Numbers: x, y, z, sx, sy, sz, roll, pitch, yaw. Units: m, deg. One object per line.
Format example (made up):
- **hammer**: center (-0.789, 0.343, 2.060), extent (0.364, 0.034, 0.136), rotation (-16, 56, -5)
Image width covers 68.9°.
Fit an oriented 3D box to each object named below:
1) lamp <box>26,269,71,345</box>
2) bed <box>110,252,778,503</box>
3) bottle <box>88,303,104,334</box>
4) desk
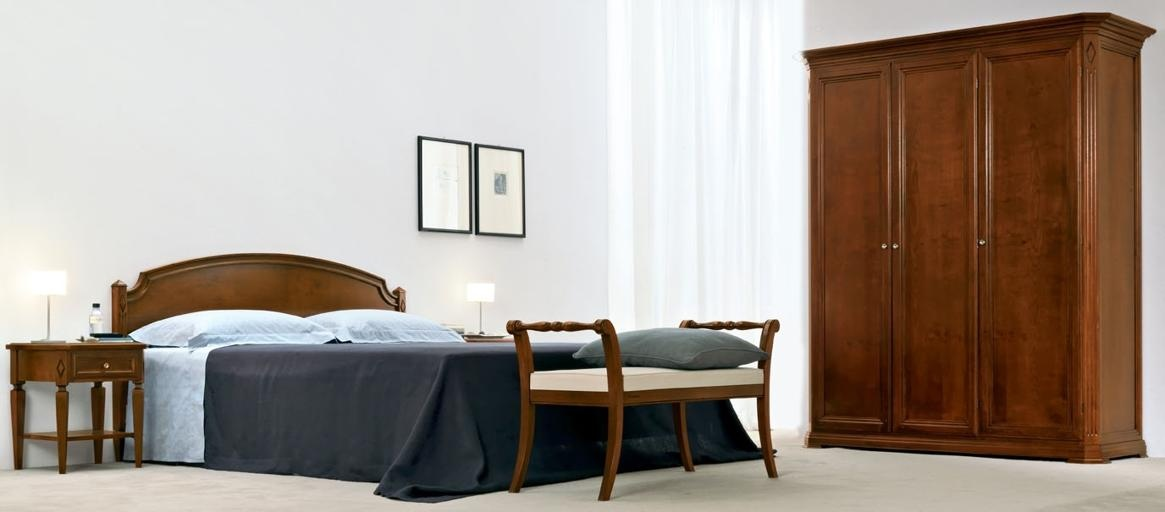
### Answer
- **lamp**: center (-5.270, 0.482, 8.413), extent (0.301, 0.680, 0.232), rotation (-3, 5, -27)
- **bed**: center (-1.663, 0.763, 8.325), extent (5.208, 1.591, 2.983), rotation (-1, -2, 29)
- **bottle**: center (-4.892, 0.626, 8.522), extent (0.127, 0.287, 0.304), rotation (-3, 4, -29)
- **desk**: center (0.606, 1.270, 7.747), extent (2.365, 1.154, 1.327), rotation (4, -7, -39)
